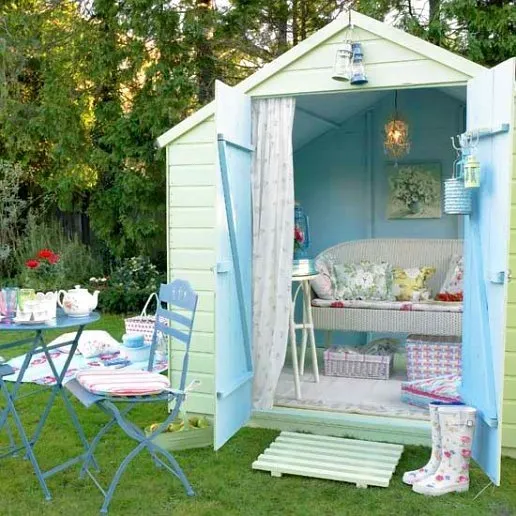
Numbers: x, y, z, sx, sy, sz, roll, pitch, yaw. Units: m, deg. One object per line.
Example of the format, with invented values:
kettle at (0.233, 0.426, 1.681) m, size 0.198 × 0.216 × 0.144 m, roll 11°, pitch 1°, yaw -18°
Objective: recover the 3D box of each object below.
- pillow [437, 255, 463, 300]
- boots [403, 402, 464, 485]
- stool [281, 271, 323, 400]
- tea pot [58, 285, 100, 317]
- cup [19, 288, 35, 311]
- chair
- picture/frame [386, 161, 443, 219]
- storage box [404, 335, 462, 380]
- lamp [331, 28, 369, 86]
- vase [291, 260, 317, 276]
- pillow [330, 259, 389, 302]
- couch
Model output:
pillow at (1.923, 0.192, 6.024) m, size 0.253 × 0.495 × 0.211 m, roll 7°, pitch 2°, yaw -30°
boots at (1.005, 1.042, 3.483) m, size 0.380 × 0.542 × 0.173 m, roll -1°, pitch 10°, yaw 20°
stool at (0.338, 0.563, 5.111) m, size 0.395 × 0.883 × 0.455 m, roll 2°, pitch 2°, yaw 16°
tea pot at (-1.071, 0.260, 3.659) m, size 0.309 × 0.263 × 0.245 m, roll -1°, pitch -3°, yaw 8°
cup at (-1.269, 0.223, 3.370) m, size 0.089 × 0.100 × 0.151 m, roll -3°, pitch 8°, yaw -23°
chair at (-0.686, 0.719, 3.517) m, size 0.675 × 1.419 × 0.707 m, roll 0°, pitch 0°, yaw -31°
picture/frame at (1.702, -0.735, 6.577) m, size 0.501 × 0.629 × 0.024 m, roll 0°, pitch 0°, yaw 25°
storage box at (1.496, 0.807, 5.242) m, size 0.394 × 0.354 × 0.481 m, roll 7°, pitch 7°, yaw 25°
lamp at (0.599, -1.310, 3.983) m, size 0.225 × 0.374 × 0.175 m, roll 1°, pitch 7°, yaw 6°
vase at (0.351, 0.080, 4.879) m, size 0.100 × 0.140 × 0.425 m, roll 4°, pitch 9°, yaw 27°
pillow at (1.042, 0.205, 6.136) m, size 0.372 × 0.135 × 0.432 m, roll 0°, pitch 44°, yaw 15°
couch at (1.407, 0.462, 6.188) m, size 1.571 × 1.305 × 0.743 m, roll 0°, pitch -4°, yaw -10°
